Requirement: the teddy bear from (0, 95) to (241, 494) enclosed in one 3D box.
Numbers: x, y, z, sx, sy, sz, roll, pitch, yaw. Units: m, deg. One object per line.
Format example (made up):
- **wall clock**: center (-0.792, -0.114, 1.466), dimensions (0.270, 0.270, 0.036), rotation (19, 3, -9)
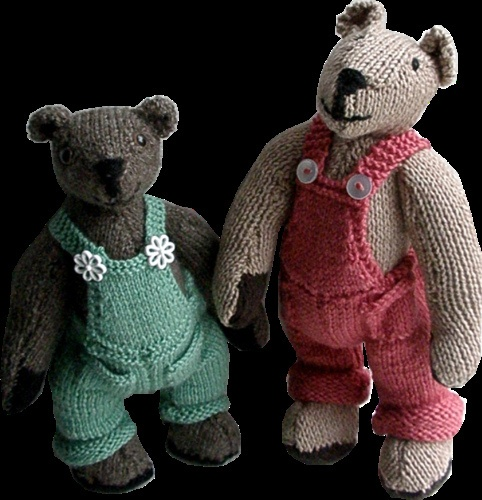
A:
- **teddy bear**: center (-0.287, 0.128, 1.691), dimensions (0.584, 0.957, 0.402), rotation (1, 29, 0)
